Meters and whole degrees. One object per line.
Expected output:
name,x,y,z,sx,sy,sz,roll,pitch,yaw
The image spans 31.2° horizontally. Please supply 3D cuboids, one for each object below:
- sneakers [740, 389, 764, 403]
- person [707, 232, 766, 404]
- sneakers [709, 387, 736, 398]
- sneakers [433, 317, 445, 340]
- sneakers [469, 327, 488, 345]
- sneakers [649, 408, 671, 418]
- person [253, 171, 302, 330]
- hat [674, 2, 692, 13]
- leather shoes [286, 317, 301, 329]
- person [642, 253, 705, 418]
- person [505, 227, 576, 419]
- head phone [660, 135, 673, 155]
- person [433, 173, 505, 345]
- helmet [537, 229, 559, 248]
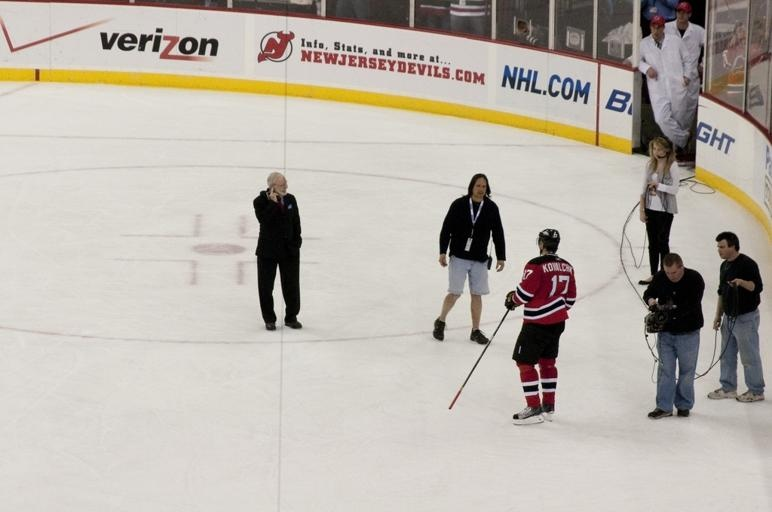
sneakers,4.928,1.891,18.789,0.332,0.137,0.139,0,9,0
person,4.781,0.830,18.729,0.781,2.247,0.574,4,18,14
sneakers,4.581,1.872,18.987,0.376,0.167,0.141,1,3,5
sneakers,0.797,1.086,20.399,0.132,0.156,0.357,20,37,-24
sneakers,1.351,1.172,20.408,0.149,0.127,0.290,-10,20,-38
sneakers,3.613,2.094,18.510,0.320,0.143,0.121,0,13,-4
person,-1.597,-0.057,20.479,0.659,2.247,0.599,-2,18,-6
hat,5.895,-4.903,27.426,0.212,0.157,0.313,12,19,25
leather shoes,-1.389,0.996,20.633,0.244,0.156,0.124,2,5,39
person,3.775,1.042,18.374,0.762,2.155,0.627,3,18,10
person,2.067,1.097,18.398,0.804,2.127,0.735,1,18,3
head phone,4.301,-1.685,21.242,0.197,0.258,0.133,2,6,7
person,1.207,0.010,20.365,1.029,2.399,0.804,1,18,3
helmet,2.191,-0.229,18.563,0.210,0.282,0.263,3,12,-11
